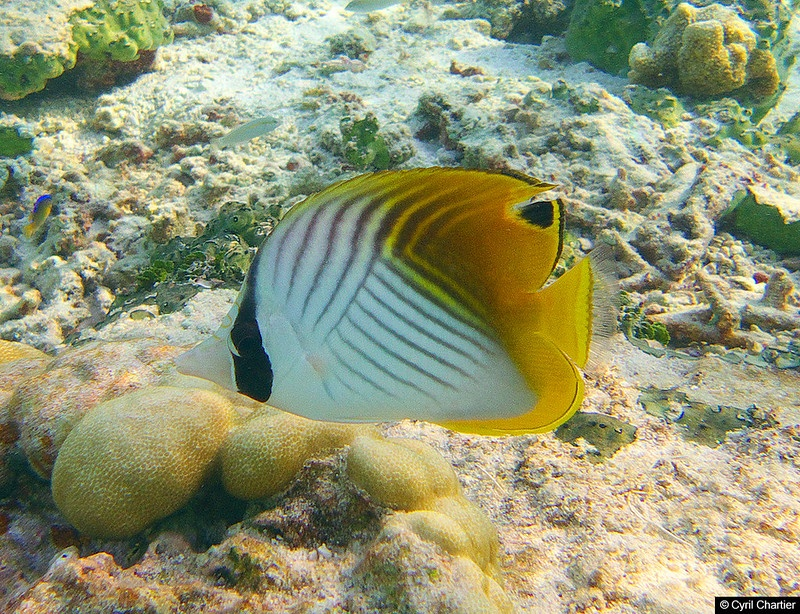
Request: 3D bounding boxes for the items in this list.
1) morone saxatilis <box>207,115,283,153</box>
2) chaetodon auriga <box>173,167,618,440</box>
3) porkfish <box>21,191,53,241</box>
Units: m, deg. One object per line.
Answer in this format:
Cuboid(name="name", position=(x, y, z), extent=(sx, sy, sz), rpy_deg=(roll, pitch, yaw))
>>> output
Cuboid(name="morone saxatilis", position=(-1.493, -1.648, 7.618), extent=(0.664, 0.454, 0.157), rpy_deg=(0, 54, -7))
Cuboid(name="chaetodon auriga", position=(-0.055, -0.002, 4.965), extent=(2.760, 0.568, 1.755), rpy_deg=(-5, 80, 9))
Cuboid(name="porkfish", position=(-3.424, -0.840, 7.491), extent=(0.090, 0.225, 0.443), rpy_deg=(36, 98, 22))
